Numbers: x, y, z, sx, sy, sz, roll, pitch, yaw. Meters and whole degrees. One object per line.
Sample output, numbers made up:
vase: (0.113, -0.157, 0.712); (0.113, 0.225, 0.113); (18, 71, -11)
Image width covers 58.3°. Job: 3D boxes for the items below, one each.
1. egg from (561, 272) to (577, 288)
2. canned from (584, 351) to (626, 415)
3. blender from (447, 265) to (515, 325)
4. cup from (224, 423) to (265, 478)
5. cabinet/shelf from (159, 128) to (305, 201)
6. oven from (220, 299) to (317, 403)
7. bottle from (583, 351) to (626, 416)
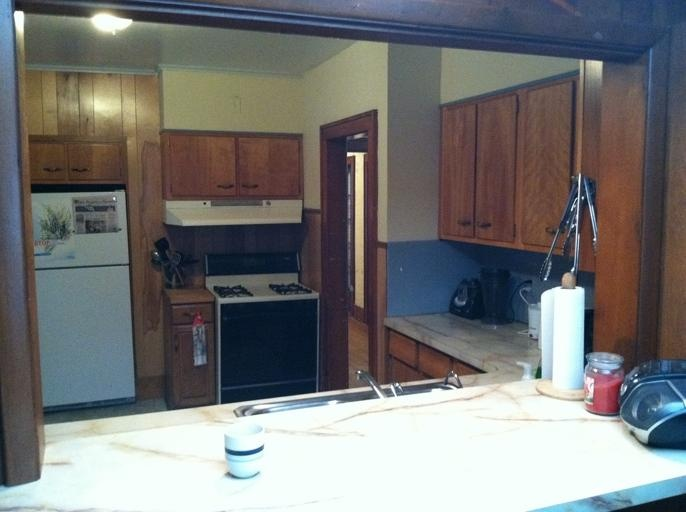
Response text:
egg: (0.763, 0.082, 2.101); (0.040, 0.053, 0.054); (5, 18, 27)
canned: (0.840, 0.417, 1.988); (0.117, 0.175, 0.117); (1, 6, -4)
blender: (0.864, 0.247, 3.886); (0.237, 0.288, 0.414); (2, -1, -42)
cup: (-0.255, 0.505, 1.612); (0.110, 0.112, 0.129); (0, 0, 4)
cabinet/shelf: (-0.974, -0.745, 5.177); (1.183, 0.566, 0.392); (-5, 11, -33)
oven: (-0.648, 0.740, 5.068); (0.858, 1.059, 0.662); (-1, 16, -7)
bottle: (0.857, 0.415, 2.056); (0.170, 0.237, 0.162); (1, 2, 0)
